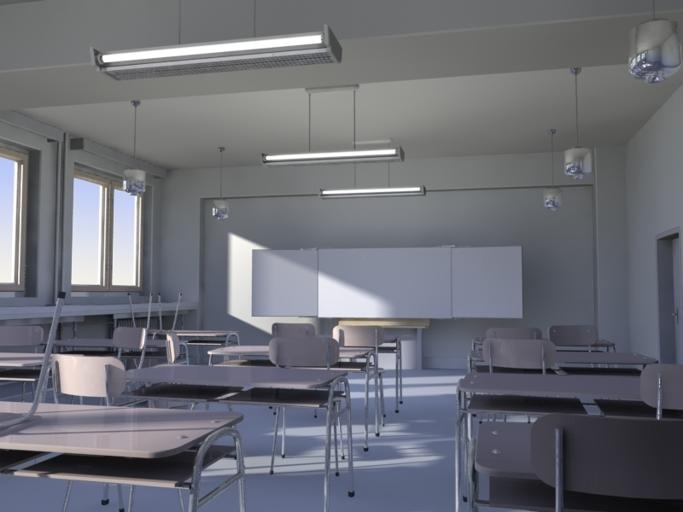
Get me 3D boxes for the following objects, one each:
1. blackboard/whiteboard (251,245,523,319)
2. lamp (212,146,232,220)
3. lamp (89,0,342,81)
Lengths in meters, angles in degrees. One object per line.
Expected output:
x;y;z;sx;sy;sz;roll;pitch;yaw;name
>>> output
0.575;0.413;10.972;4.301;1.043;0.203;-1;-6;22;blackboard/whiteboard
-1.737;-1.073;10.390;0.244;1.015;0.250;5;8;27;lamp
-0.882;-1.439;5.144;1.749;0.256;0.314;0;-5;6;lamp
